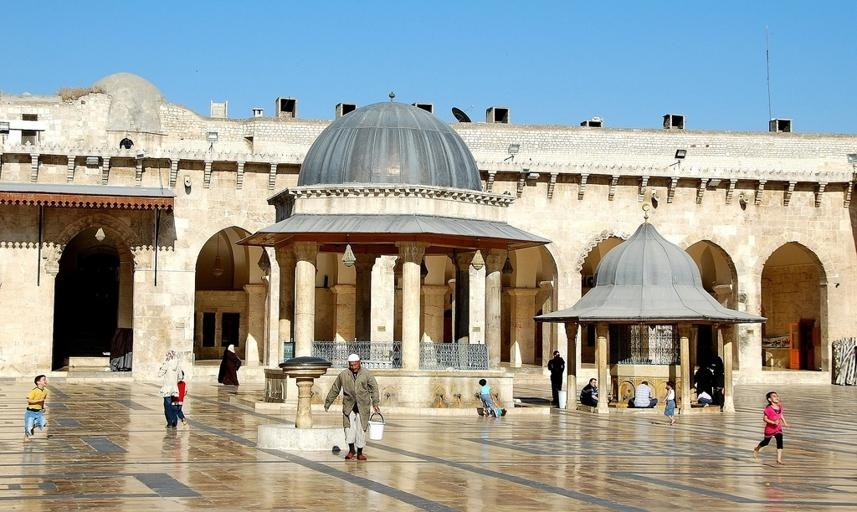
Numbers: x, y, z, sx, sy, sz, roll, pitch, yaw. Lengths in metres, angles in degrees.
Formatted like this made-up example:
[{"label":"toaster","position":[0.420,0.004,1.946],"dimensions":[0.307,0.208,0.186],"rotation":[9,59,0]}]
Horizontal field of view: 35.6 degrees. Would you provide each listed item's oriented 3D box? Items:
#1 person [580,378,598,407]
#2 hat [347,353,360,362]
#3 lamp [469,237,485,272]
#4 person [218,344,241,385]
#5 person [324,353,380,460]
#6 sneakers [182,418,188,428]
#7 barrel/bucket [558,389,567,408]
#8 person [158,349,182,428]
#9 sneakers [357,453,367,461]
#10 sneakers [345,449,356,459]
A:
[{"label":"person","position":[5.459,4.615,45.228],"dimensions":[0.529,0.936,1.095],"rotation":[1,-7,4]},{"label":"hat","position":[-1.987,2.747,35.896],"dimensions":[0.381,0.189,0.344],"rotation":[1,3,7]},{"label":"lamp","position":[1.630,0.132,44.357],"dimensions":[0.758,1.054,0.638],"rotation":[0,2,-5]},{"label":"person","position":[-7.497,4.141,50.436],"dimensions":[0.736,1.491,1.493],"rotation":[3,-7,-9]},{"label":"person","position":[-1.992,4.030,35.746],"dimensions":[1.290,2.798,1.037],"rotation":[2,-7,-4]},{"label":"sneakers","position":[-7.141,4.916,39.256],"dimensions":[0.232,0.212,0.601],"rotation":[0,-8,-10]},{"label":"barrel/bucket","position":[4.525,4.818,44.684],"dimensions":[0.223,0.583,0.351],"rotation":[2,-7,0]},{"label":"person","position":[-7.521,4.015,39.056],"dimensions":[0.546,1.990,0.828],"rotation":[3,-7,-10]},{"label":"sneakers","position":[-1.727,5.294,35.261],"dimensions":[0.247,0.192,0.344],"rotation":[2,-6,-3]},{"label":"sneakers","position":[-2.071,5.252,35.335],"dimensions":[0.318,0.226,0.258],"rotation":[-1,-7,20]}]
